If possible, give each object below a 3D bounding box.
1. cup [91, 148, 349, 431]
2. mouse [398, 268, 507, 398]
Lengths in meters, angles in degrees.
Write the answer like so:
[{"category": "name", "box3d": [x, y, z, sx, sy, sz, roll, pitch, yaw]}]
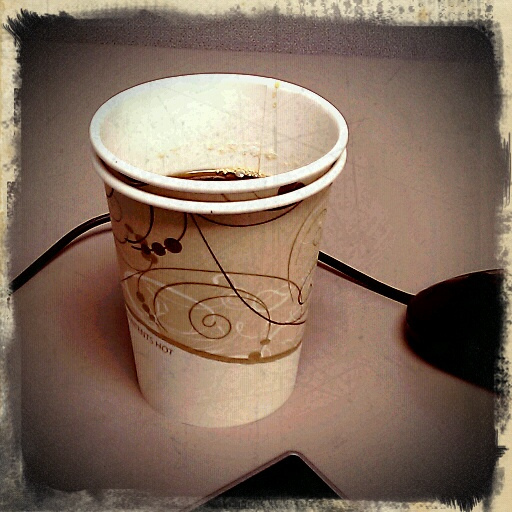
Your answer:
[{"category": "cup", "box3d": [-0.052, 0.007, 0.910, 0.285, 0.374, 0.322, -1, 31, -8]}, {"category": "mouse", "box3d": [0.318, 0.106, 1.045, 0.177, 0.151, 0.155, 16, 35, 14]}]
